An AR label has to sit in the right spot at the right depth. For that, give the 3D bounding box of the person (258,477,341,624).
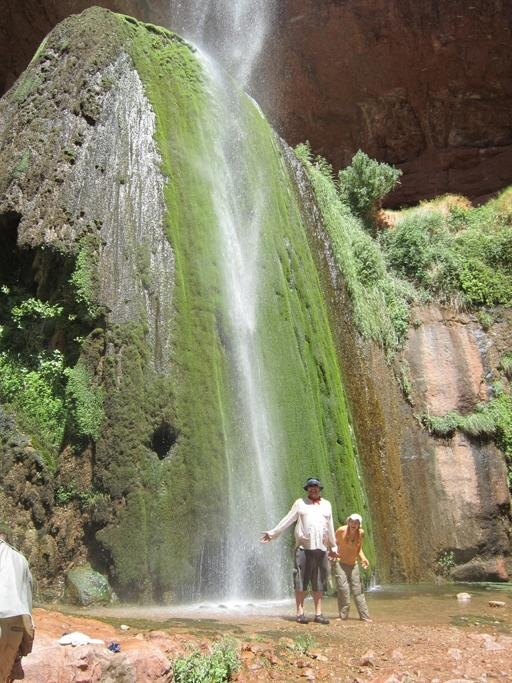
[{"bbox_3d":[0.460,1.970,6.140,0.662,1.290,0.494,-7,-11,-3],"label":"person"}]

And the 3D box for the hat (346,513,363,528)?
[{"bbox_3d":[0.983,1.777,6.472,0.136,0.126,0.277,-9,-12,3],"label":"hat"}]

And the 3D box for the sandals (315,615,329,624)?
[{"bbox_3d":[0.602,2.513,5.885,0.049,0.060,0.137,2,-17,-26],"label":"sandals"}]
